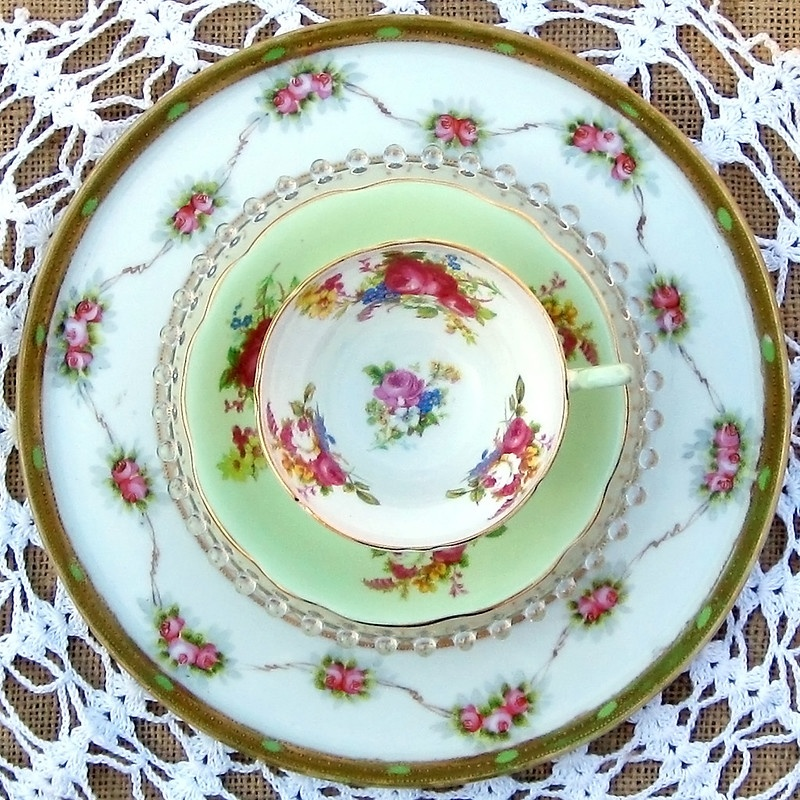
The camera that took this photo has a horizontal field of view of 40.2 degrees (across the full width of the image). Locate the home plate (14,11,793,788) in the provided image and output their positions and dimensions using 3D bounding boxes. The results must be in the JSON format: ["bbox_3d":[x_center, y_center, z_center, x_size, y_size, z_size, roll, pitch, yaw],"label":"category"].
[{"bbox_3d":[-0.012,0.014,1.286,1.019,0.170,0.971,-13,87,-2],"label":"home plate"}]
